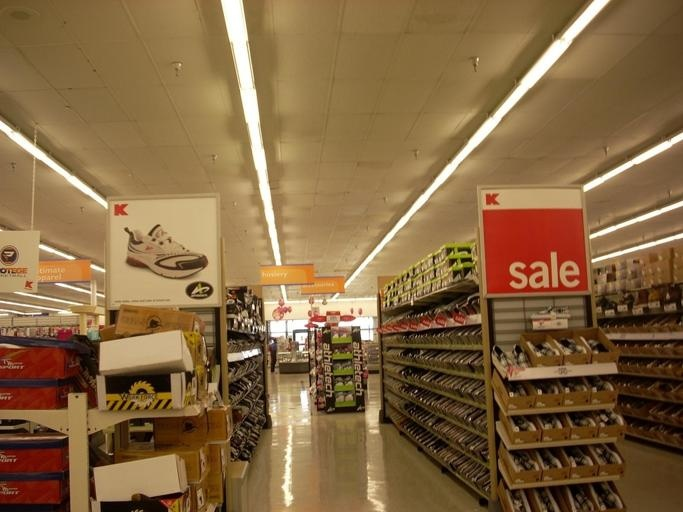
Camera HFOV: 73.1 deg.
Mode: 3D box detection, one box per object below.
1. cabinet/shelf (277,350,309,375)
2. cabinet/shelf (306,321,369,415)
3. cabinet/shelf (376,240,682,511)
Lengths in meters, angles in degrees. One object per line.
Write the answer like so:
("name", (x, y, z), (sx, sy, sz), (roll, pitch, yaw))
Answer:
("cabinet/shelf", (-2.281, 5.304, 23.145), (2.076, 0.538, 1.993), (0, 2, 6))
("cabinet/shelf", (-0.130, 2.782, 11.672), (1.138, 2.071, 1.600), (0, -11, -11))
("cabinet/shelf", (2.301, 1.422, 5.331), (1.158, 1.759, 3.246), (0, -3, -5))
